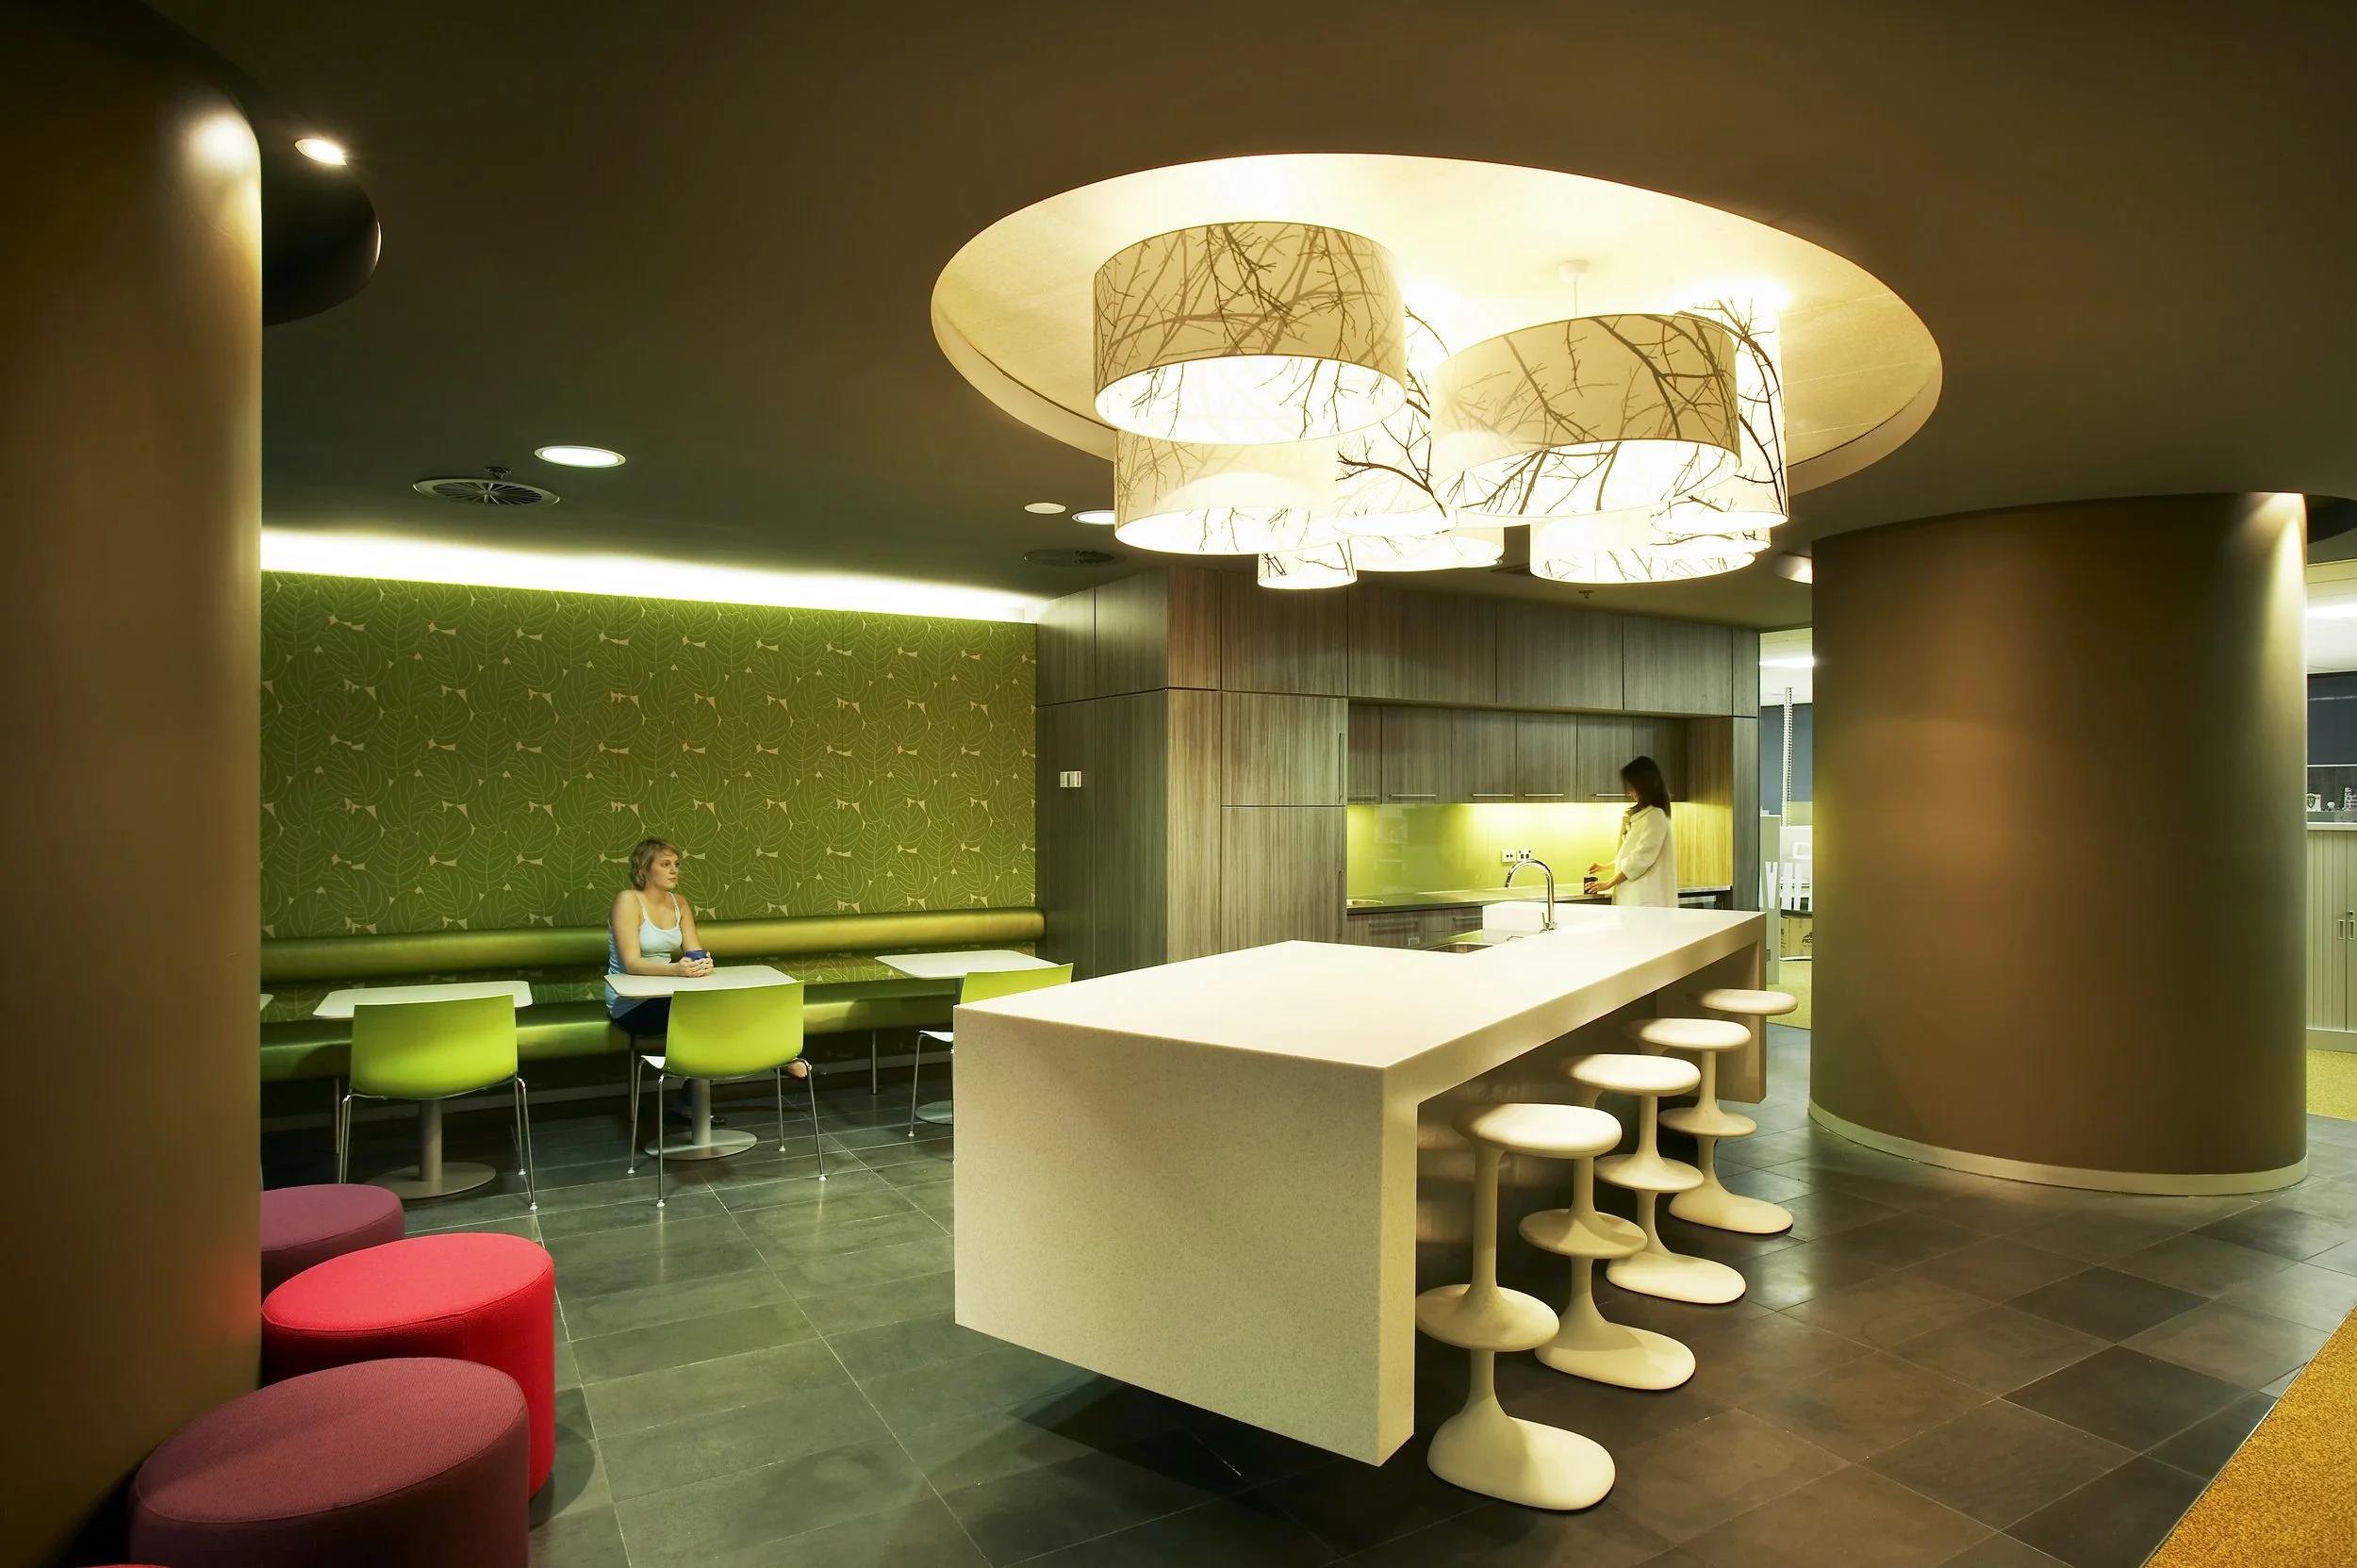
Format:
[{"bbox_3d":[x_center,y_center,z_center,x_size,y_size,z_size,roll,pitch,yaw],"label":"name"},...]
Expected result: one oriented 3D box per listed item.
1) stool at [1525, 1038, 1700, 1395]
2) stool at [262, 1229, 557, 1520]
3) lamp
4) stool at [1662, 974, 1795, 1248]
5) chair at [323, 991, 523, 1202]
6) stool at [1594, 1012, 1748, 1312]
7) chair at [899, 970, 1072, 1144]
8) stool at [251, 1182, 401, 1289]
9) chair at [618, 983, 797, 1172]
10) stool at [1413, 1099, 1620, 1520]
[{"bbox_3d":[1.421,1.507,5.881,0.641,0.919,0.522,-2,2,31],"label":"stool"},{"bbox_3d":[-2.165,1.692,5.066,0.808,0.683,0.805,1,0,2],"label":"stool"},{"bbox_3d":[0.709,-1.308,5.581,2.130,0.409,1.632,7,-9,-36],"label":"lamp"},{"bbox_3d":[2.194,1.334,6.997,0.650,0.854,0.463,4,5,35],"label":"stool"},{"bbox_3d":[-3.265,1.335,7.401,0.759,0.970,0.629,-4,13,-31],"label":"chair"},{"bbox_3d":[1.835,1.482,6.700,0.550,0.652,0.624,11,-2,14],"label":"stool"},{"bbox_3d":[-0.898,1.145,8.020,0.511,0.605,0.851,18,40,-16],"label":"chair"},{"bbox_3d":[-2.637,1.344,5.255,0.347,0.211,0.340,3,5,3],"label":"stool"},{"bbox_3d":[-2.122,1.205,7.708,0.641,1.030,0.703,0,25,-28],"label":"chair"},{"bbox_3d":[1.050,1.558,5.348,0.618,1.078,0.792,1,12,9],"label":"stool"}]
